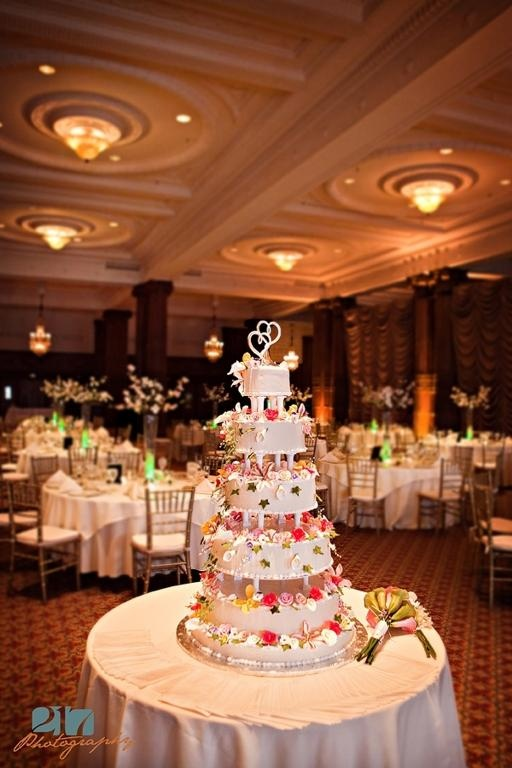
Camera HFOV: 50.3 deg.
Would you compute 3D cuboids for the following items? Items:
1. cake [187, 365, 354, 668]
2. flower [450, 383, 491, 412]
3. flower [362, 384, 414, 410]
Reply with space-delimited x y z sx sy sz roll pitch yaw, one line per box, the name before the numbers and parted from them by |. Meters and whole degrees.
cake | 0.075 0.412 2.283 0.677 1.176 0.637 1 6 17
flower | 4.269 0.292 10.784 0.593 0.394 0.636 4 -2 -38
flower | 3.368 0.325 13.785 0.816 0.421 0.840 4 2 29
